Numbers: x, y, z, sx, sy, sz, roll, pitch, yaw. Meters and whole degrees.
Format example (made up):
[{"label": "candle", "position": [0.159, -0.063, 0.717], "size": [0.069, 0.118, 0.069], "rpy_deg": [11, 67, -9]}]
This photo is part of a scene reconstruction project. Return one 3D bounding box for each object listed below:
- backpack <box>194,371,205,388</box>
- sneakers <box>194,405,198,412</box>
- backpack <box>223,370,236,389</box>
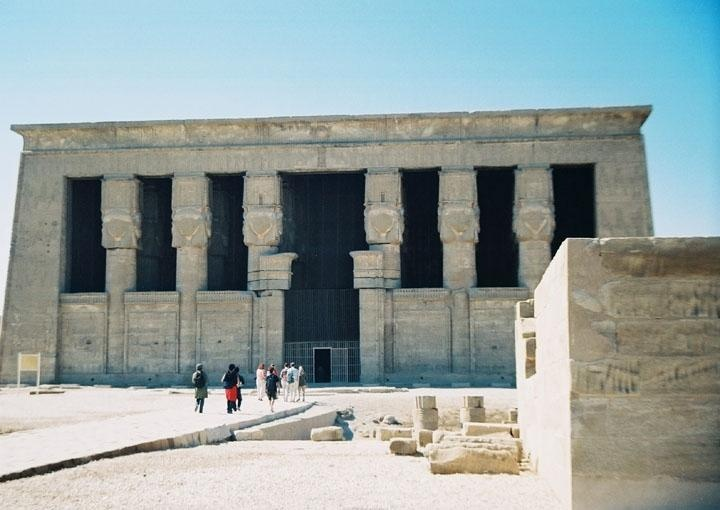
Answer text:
[{"label": "backpack", "position": [-5.254, 4.227, 35.642], "size": [0.369, 0.534, 0.482], "rpy_deg": [-1, -8, -9]}, {"label": "sneakers", "position": [-5.454, 5.286, 36.233], "size": [0.073, 0.084, 0.218], "rpy_deg": [8, -44, -10]}, {"label": "backpack", "position": [-4.325, 4.296, 36.127], "size": [0.414, 0.570, 0.568], "rpy_deg": [1, -9, -6]}]
